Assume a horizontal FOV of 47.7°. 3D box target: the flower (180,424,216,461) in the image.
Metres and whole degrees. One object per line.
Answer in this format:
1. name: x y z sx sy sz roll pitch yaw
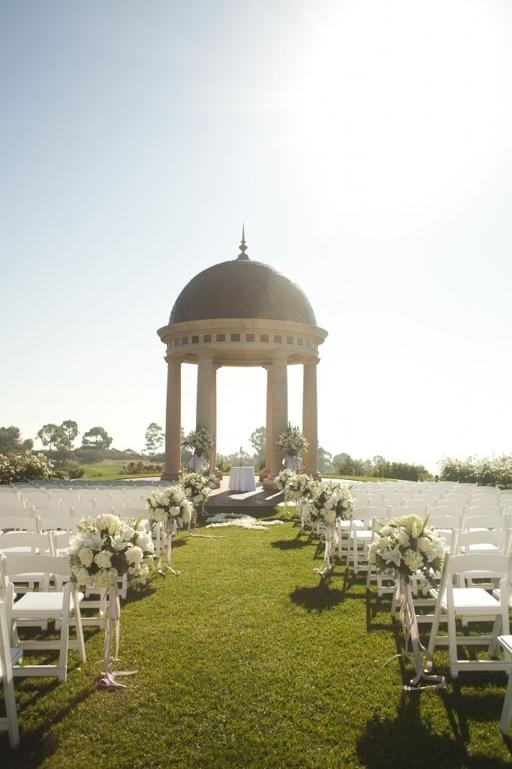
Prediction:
1. flower: -2.512 2.466 24.387 1.098 1.390 1.448 -1 -4 23

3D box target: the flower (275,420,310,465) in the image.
1. flower: 1.486 2.650 24.909 1.193 1.682 0.745 1 -4 2
